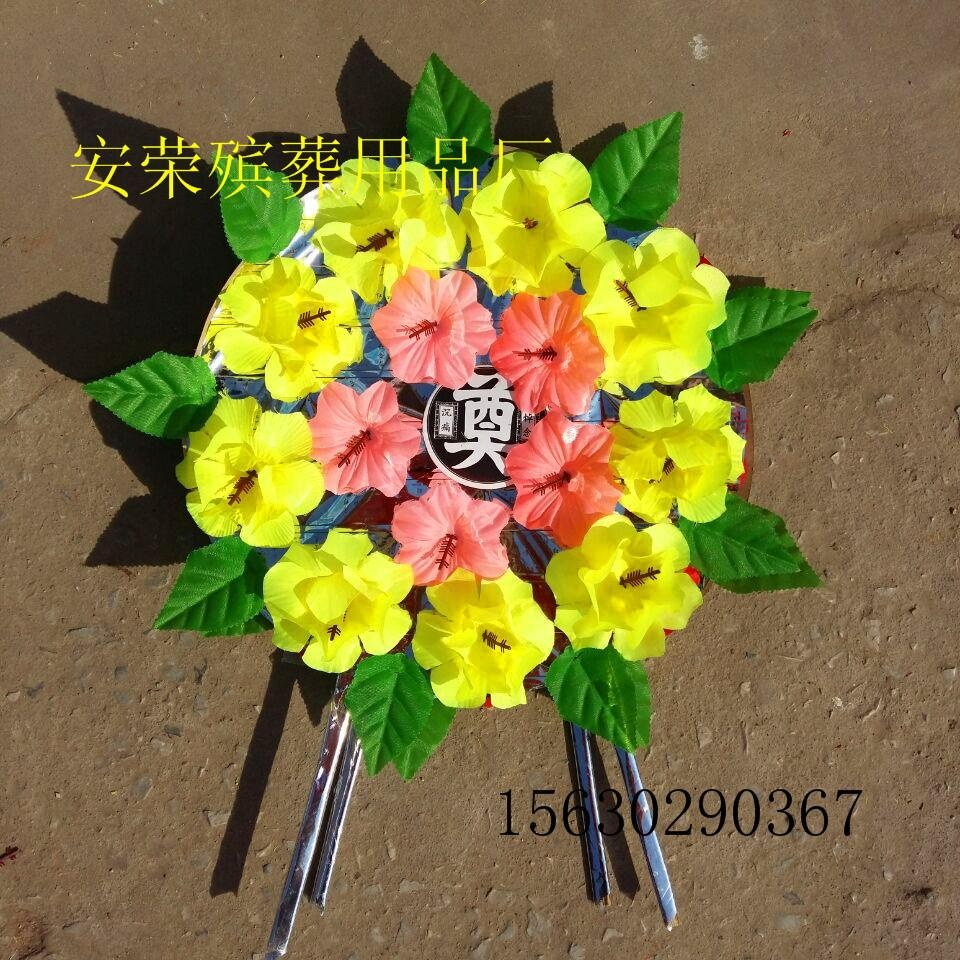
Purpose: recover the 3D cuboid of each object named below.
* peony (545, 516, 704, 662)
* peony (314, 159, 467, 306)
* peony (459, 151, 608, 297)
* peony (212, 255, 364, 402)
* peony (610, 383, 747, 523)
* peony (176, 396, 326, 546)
[{"bbox_3d":[0.295,0.177,2.754,0.273,0.114,0.200,-25,102,-45],"label":"peony"},{"bbox_3d":[-0.209,-0.517,2.735,0.361,0.123,0.272,3,86,4],"label":"peony"},{"bbox_3d":[0.101,-0.516,2.851,0.390,0.154,0.272,-8,84,0],"label":"peony"},{"bbox_3d":[-0.407,-0.304,2.710,0.383,0.125,0.273,7,97,1],"label":"peony"},{"bbox_3d":[0.401,-0.060,2.697,0.347,0.116,0.246,-4,98,-9],"label":"peony"},{"bbox_3d":[-0.457,-0.023,2.852,0.370,0.163,0.286,17,96,-1],"label":"peony"}]
